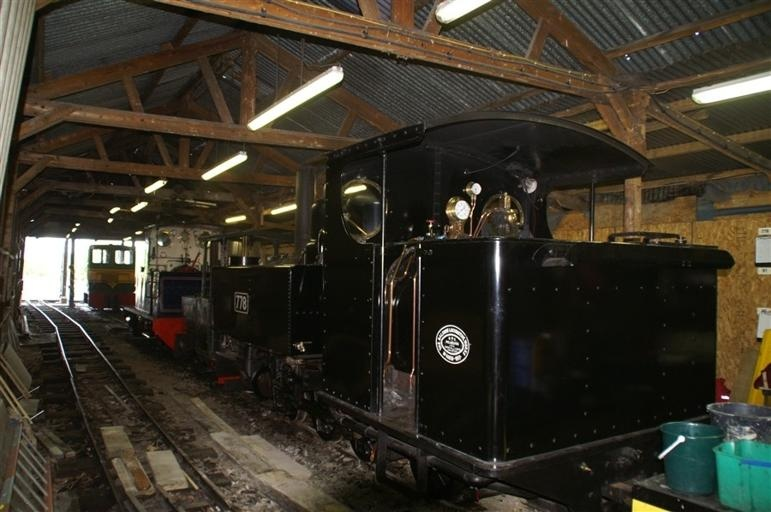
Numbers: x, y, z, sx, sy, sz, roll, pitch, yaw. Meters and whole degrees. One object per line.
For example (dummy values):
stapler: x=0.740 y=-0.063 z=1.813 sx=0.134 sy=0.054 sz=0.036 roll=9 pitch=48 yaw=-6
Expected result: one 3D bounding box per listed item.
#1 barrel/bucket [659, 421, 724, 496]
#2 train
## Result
barrel/bucket: x=2.831 y=1.857 z=5.449 sx=0.621 sy=0.555 sz=0.669 roll=-1 pitch=-3 yaw=0
train: x=0.482 y=0.362 z=10.272 sx=6.915 sy=4.505 sz=10.258 roll=-5 pitch=8 yaw=-44
